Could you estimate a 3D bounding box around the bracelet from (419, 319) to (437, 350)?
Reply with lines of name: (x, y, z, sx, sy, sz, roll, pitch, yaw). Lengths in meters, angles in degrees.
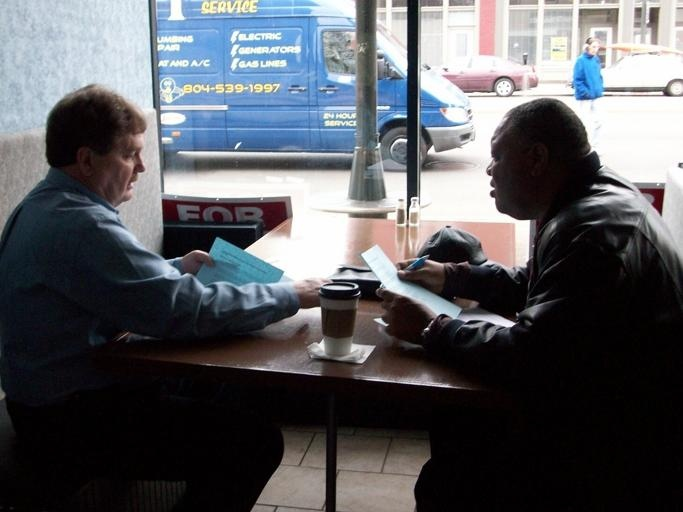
bracelet: (0.203, 0.192, 1.469, 0.025, 0.065, 0.055, 35, 51, 23)

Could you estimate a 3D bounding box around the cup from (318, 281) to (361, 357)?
cup: (-0.003, 0.145, 1.450, 0.095, 0.163, 0.129, 4, 15, 18)

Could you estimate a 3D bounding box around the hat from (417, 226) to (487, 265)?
hat: (0.430, -0.028, 1.984, 0.296, 0.117, 0.212, 8, 2, 12)
